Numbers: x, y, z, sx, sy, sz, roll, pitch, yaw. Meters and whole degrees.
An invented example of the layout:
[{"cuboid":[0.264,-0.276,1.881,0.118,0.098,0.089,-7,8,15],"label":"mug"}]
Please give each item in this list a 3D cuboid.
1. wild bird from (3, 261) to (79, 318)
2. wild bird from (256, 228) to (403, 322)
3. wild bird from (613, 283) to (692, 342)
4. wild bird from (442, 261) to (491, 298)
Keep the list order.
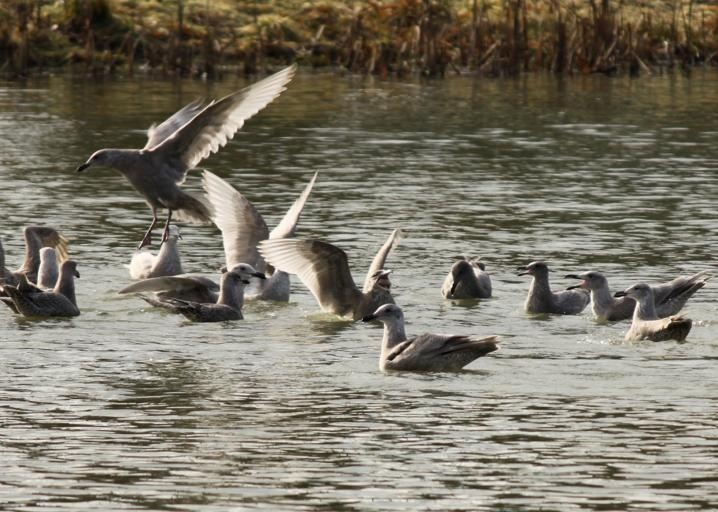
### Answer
[{"cuboid":[-5.085,0.537,23.159,1.233,0.923,0.720,-2,7,-14],"label":"wild bird"},{"cuboid":[-0.432,0.341,22.894,2.203,0.693,1.734,6,-11,-43],"label":"wild bird"},{"cuboid":[4.566,0.899,22.333,0.804,0.854,1.316,-2,6,-11],"label":"wild bird"},{"cuboid":[1.866,0.299,24.774,0.623,0.573,0.853,3,38,7],"label":"wild bird"}]
